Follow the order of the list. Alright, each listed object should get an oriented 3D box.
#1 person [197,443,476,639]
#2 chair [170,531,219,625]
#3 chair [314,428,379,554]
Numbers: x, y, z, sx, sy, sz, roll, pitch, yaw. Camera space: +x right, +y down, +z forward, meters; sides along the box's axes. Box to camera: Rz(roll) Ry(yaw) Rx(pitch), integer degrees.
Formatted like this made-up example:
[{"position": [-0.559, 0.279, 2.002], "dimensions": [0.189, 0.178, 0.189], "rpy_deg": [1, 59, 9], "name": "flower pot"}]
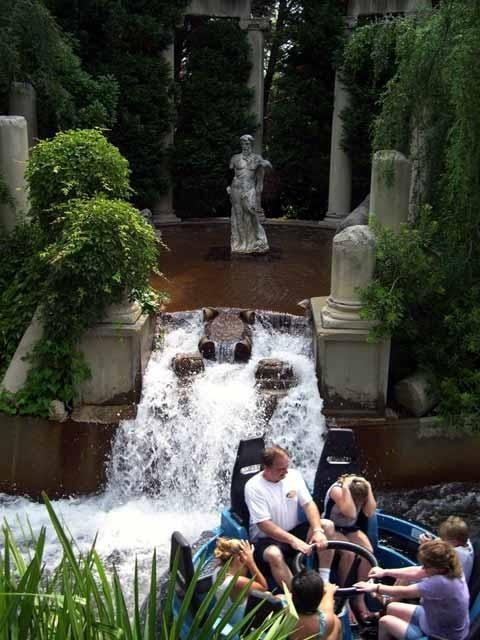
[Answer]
[{"position": [0.728, 1.478, 3.478], "dimensions": [0.976, 0.925, 1.397], "rpy_deg": [0, -1, -16], "name": "person"}, {"position": [-0.200, 1.369, 2.917], "dimensions": [0.262, 0.479, 0.259], "rpy_deg": [-4, 5, -32], "name": "chair"}, {"position": [0.685, 1.344, 3.940], "dimensions": [0.482, 0.870, 0.708], "rpy_deg": [-2, 26, 5], "name": "chair"}]
